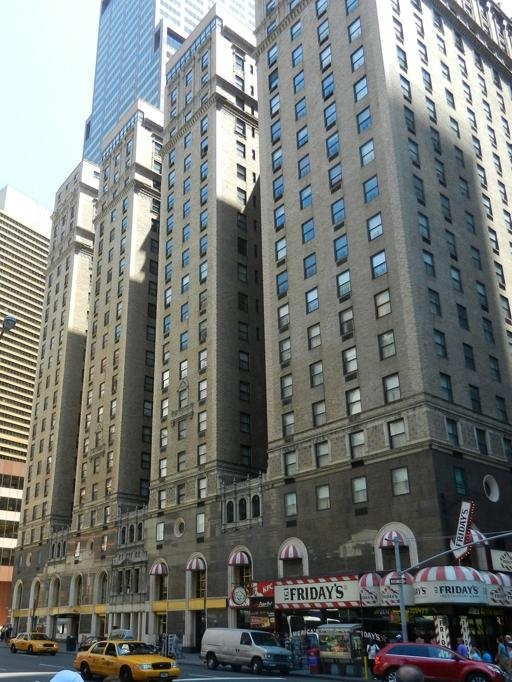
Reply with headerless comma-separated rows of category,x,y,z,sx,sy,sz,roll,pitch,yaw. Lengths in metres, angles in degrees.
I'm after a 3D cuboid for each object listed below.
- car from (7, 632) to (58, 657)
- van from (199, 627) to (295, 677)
car,-16.710,22.543,41.555,2.308,1.510,4.054,17,-31,-39
van,-0.692,16.423,29.718,1.394,1.968,5.984,15,-30,-36
